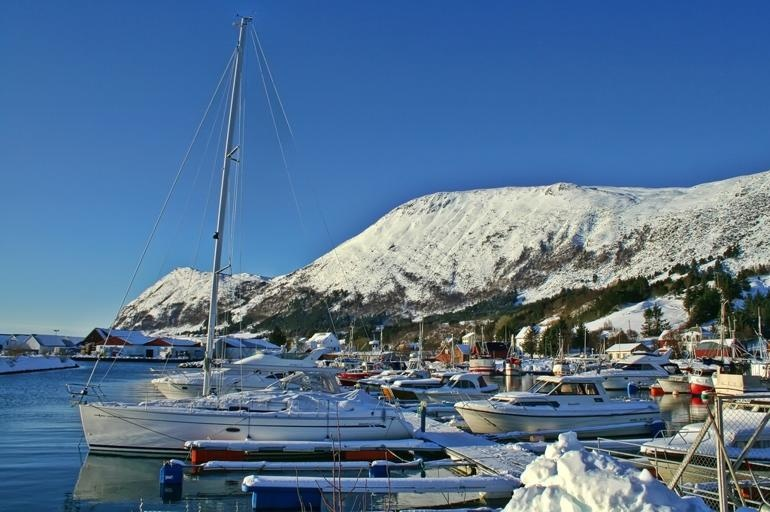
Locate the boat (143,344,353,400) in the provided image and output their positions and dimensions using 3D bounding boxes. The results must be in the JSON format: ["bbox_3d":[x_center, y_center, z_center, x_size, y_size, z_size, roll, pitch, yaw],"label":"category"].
[{"bbox_3d":[-10.049,10.175,71.204,16.026,4.955,4.613,3,3,-7],"label":"boat"}]
